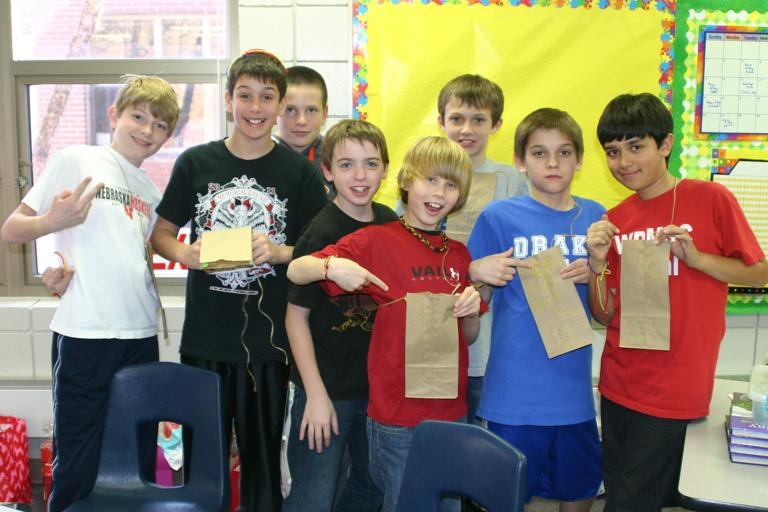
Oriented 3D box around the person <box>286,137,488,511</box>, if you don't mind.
[{"bbox_3d":[0.062,0.264,2.906,0.731,1.445,0.390,3,-1,8],"label":"person"}]
